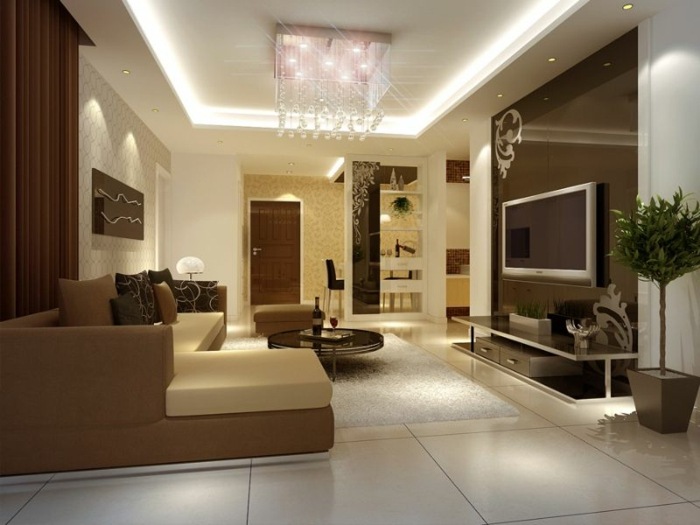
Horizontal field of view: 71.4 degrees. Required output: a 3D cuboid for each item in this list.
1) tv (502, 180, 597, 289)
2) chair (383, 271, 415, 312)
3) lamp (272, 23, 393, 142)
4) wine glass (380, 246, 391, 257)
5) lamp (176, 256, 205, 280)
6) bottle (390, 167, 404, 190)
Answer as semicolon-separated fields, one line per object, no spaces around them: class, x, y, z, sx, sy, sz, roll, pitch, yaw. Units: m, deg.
tv;2.062;-0.274;4.995;0.121;1.049;1.237;-3;9;-19
chair;0.779;0.512;8.740;0.784;0.837;0.584;1;-1;-7
lamp;-0.188;-1.880;5.363;1.274;0.982;1.224;-1;9;-8
wine glass;0.633;-0.181;8.468;0.152;0.129;0.162;2;4;14
lamp;-2.366;0.071;7.089;0.332;0.437;0.337;-3;4;-32
bottle;0.832;-1.457;8.544;0.308;0.376;0.085;-6;10;-32
